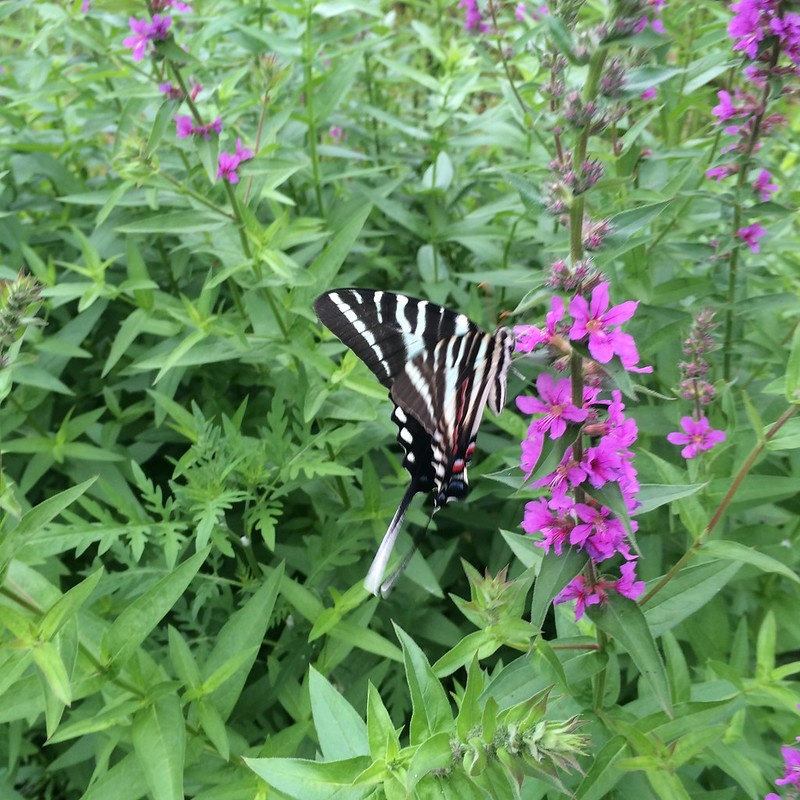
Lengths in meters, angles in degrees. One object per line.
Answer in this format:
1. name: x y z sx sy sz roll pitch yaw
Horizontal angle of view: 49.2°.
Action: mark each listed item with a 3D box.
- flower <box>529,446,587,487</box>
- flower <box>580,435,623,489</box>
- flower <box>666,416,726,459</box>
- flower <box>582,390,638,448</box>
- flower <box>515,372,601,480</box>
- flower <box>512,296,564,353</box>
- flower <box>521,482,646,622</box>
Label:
1. flower: 0.303 0.120 1.571 0.079 0.079 0.025 10 6 33
2. flower: 0.346 0.112 1.554 0.089 0.038 0.079 8 78 -12
3. flower: 0.728 0.089 2.147 0.118 0.116 0.046 -4 2 42
4. flower: 0.368 0.041 1.589 0.133 0.046 0.108 -10 32 37
5. flower: 0.269 0.059 1.577 0.084 0.189 0.153 8 4 -38
6. flower: 0.253 -0.141 1.553 0.092 0.094 0.043 -14 75 -39
7. flower: 0.340 0.276 1.618 0.252 0.102 0.220 38 64 -29
